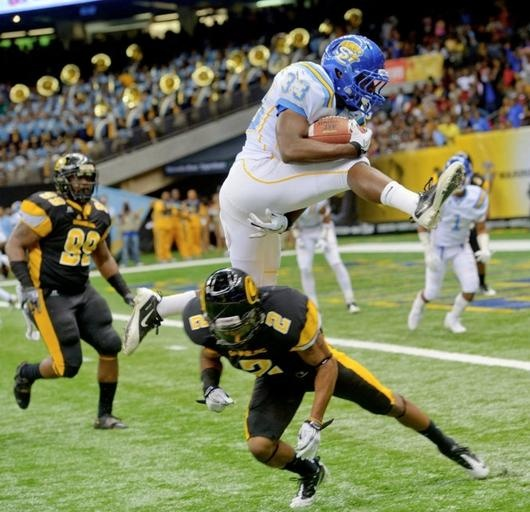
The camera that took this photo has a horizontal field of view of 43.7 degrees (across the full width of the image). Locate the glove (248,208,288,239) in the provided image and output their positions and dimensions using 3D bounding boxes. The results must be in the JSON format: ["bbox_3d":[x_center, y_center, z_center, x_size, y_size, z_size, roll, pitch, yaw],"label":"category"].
[{"bbox_3d":[0.021,-0.158,3.218,0.192,0.093,0.169,0,-4,2],"label":"glove"}]

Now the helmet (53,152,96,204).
[{"bbox_3d":[-1.165,-0.507,4.241,0.293,0.294,0.364,-2,6,-43],"label":"helmet"}]

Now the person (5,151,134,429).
[{"bbox_3d":[-1.270,0.151,4.144,0.820,1.598,0.500,-12,8,-22],"label":"person"}]

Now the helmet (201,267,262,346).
[{"bbox_3d":[-0.138,0.217,2.765,0.242,0.320,0.222,-9,7,-7],"label":"helmet"}]

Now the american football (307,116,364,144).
[{"bbox_3d":[0.309,-0.586,3.041,0.266,0.122,0.116,1,25,-1],"label":"american football"}]

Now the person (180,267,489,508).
[{"bbox_3d":[0.198,0.568,2.897,1.105,1.105,0.553,-6,7,10],"label":"person"}]

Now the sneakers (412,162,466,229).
[{"bbox_3d":[0.734,-0.260,2.795,0.232,0.263,0.121,-7,7,11],"label":"sneakers"}]

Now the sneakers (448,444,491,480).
[{"bbox_3d":[0.926,0.926,3.026,0.220,0.110,0.087,38,17,-1],"label":"sneakers"}]

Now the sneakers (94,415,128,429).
[{"bbox_3d":[-0.965,1.035,4.130,0.186,0.056,0.084,-2,-6,12],"label":"sneakers"}]

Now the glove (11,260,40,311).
[{"bbox_3d":[-1.451,0.171,3.993,0.119,0.316,0.201,-12,8,-18],"label":"glove"}]
